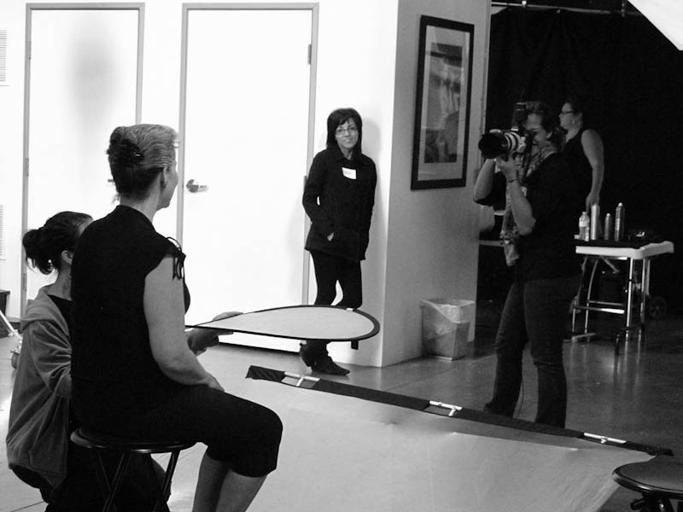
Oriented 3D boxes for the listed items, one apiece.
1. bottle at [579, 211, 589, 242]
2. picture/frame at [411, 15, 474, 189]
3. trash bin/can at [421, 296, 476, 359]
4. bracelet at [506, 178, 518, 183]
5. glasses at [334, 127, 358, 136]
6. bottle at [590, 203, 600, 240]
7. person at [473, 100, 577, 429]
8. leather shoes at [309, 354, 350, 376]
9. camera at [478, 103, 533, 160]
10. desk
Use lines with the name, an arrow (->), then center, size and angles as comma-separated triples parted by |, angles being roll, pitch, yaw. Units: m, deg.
bottle -> 2.550, -0.319, 6.806 | 0.117, 0.272, 0.272 | 2, 3, 20
picture/frame -> 0.888, -1.431, 5.869 | 0.088, 2.098, 1.531 | 4, 6, 27
trash bin/can -> 0.957, 0.592, 6.061 | 0.532, 0.549, 0.497 | -2, 7, -40
bracelet -> 0.932, -0.407, 3.528 | 0.058, 0.021, 0.040 | 2, 3, 18
glasses -> 0.031, -0.990, 5.144 | 0.171, 0.079, 0.046 | 1, 3, -7
bottle -> 2.704, -0.369, 6.884 | 0.112, 0.370, 0.400 | 2, 3, 22
person -> 1.078, 0.052, 3.686 | 0.518, 1.804, 0.702 | 2, 3, 13
leather shoes -> -0.117, 0.853, 5.167 | 0.368, 0.170, 0.129 | 1, 7, 9
camera -> 0.918, -0.672, 3.518 | 0.286, 0.300, 0.187 | -10, 17, -40
desk -> 2.995, 0.477, 6.989 | 1.049, 1.080, 0.971 | 0, -3, 41
